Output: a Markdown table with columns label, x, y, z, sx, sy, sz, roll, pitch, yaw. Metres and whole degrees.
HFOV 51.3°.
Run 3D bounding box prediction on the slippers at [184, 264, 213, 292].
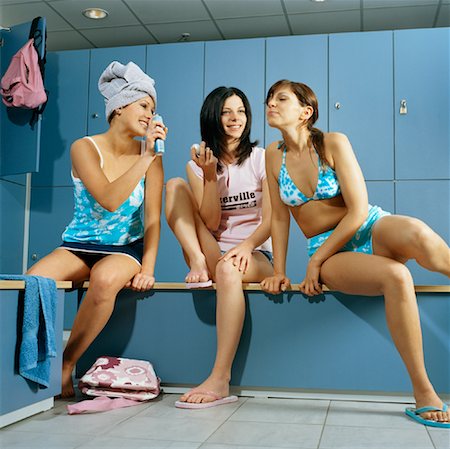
| label | x | y | z | sx | sy | sz | roll | pitch | yaw |
| --- | --- | --- | --- | --- | --- | --- | --- | --- | --- |
| slippers | -0.089 | 0.221 | 1.820 | 0.155 | 0.091 | 0.051 | 0 | -7 | 8 |

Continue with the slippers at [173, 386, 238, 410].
| label | x | y | z | sx | sy | sz | roll | pitch | yaw |
| --- | --- | --- | --- | --- | --- | --- | --- | --- | --- |
| slippers | -0.050 | 0.578 | 1.587 | 0.190 | 0.057 | 0.073 | 9 | -14 | -35 |

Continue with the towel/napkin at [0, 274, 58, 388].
| label | x | y | z | sx | sy | sz | roll | pitch | yaw |
| --- | --- | --- | --- | --- | --- | --- | --- | --- | --- |
| towel/napkin | -0.592 | 0.336 | 1.415 | 0.174 | 0.350 | 0.107 | 7 | -11 | -42 |

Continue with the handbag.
| label | x | y | z | sx | sy | sz | roll | pitch | yaw |
| --- | --- | --- | --- | --- | --- | --- | --- | --- | --- |
| handbag | -0.363 | 0.551 | 1.668 | 0.185 | 0.055 | 0.185 | 4 | 7 | 0 |
